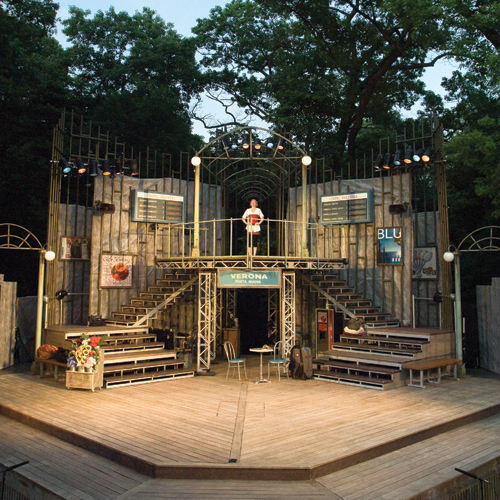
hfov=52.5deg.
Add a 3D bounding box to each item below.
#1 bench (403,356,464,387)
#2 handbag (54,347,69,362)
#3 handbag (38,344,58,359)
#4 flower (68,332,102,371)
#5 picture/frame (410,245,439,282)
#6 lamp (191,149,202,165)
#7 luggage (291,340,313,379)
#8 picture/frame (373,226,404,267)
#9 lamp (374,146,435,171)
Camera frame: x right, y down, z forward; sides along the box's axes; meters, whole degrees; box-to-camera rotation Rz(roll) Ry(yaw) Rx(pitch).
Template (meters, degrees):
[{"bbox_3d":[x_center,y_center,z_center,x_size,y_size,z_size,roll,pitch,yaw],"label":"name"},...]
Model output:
[{"bbox_3d":[4.746,3.125,13.094,0.728,0.625,2.352,-2,-2,44],"label":"bench"},{"bbox_3d":[-4.845,2.716,13.060,0.408,0.286,0.404,8,7,36],"label":"handbag"},{"bbox_3d":[-5.391,2.681,13.550,0.392,0.337,0.504,6,2,4],"label":"handbag"},{"bbox_3d":[-3.934,2.445,11.965,0.734,0.882,0.464,0,-2,-11],"label":"flower"},{"bbox_3d":[5.812,0.478,16.819,0.174,1.563,1.186,13,-12,-39],"label":"picture/frame"},{"bbox_3d":[-1.611,-2.709,15.228,0.230,0.388,0.720,0,-1,-2],"label":"lamp"},{"bbox_3d":[1.389,3.086,13.900,0.665,0.883,0.448,0,-2,9],"label":"luggage"},{"bbox_3d":[4.657,-0.133,16.912,0.889,1.251,0.059,-2,-2,42],"label":"picture/frame"},{"bbox_3d":[4.822,-2.936,16.074,1.140,0.719,2.317,0,-1,-23],"label":"lamp"}]
